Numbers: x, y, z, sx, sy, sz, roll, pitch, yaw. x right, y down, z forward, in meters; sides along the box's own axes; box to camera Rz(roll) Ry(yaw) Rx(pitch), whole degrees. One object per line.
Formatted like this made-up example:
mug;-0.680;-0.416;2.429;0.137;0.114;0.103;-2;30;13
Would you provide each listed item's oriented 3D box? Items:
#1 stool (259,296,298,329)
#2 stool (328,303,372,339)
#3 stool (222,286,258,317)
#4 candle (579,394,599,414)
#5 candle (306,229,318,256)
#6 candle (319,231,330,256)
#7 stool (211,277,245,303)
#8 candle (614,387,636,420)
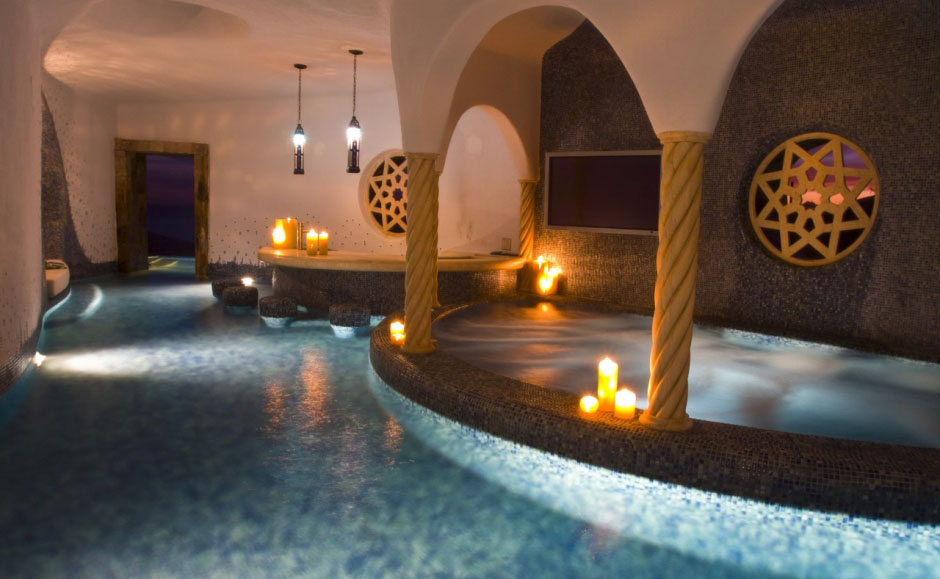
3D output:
stool;-2.404;0.251;7.637;0.376;0.233;0.382;-5;14;-26
stool;-1.414;0.357;7.211;0.477;0.308;0.440;-3;12;-11
stool;-3.105;0.159;8.248;0.399;0.347;0.401;-3;-5;35
candle;0.873;0.823;4.471;0.120;0.110;0.120;0;2;-17
candle;-2.144;-0.658;8.360;0.163;0.316;0.356;-4;12;-15
candle;-1.998;-0.639;8.337;0.105;0.294;0.245;-1;12;-1
stool;-3.532;-0.046;8.880;0.438;0.327;0.441;2;3;11
candle;1.114;0.805;4.460;0.183;0.212;0.184;3;7;35
